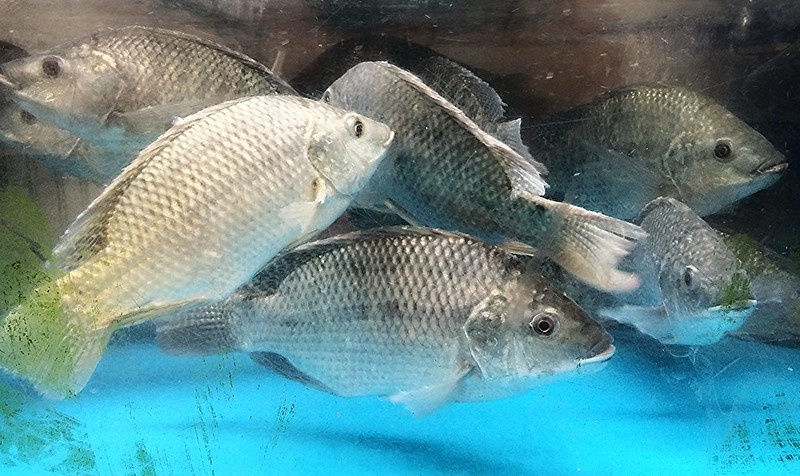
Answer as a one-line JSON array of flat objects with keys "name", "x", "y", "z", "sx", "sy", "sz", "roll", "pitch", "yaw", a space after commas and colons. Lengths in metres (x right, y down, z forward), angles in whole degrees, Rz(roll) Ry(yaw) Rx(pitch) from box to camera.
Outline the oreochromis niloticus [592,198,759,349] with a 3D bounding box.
[{"name": "oreochromis niloticus", "x": 0.803, "y": 0.115, "z": 2.889, "sx": 0.304, "sy": 0.567, "sz": 0.312, "roll": -12, "pitch": 102, "yaw": -28}]

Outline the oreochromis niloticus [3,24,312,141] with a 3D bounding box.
[{"name": "oreochromis niloticus", "x": -0.753, "y": -0.474, "z": 2.904, "sx": 0.883, "sy": 0.363, "sz": 0.362, "roll": 5, "pitch": 88, "yaw": 1}]
